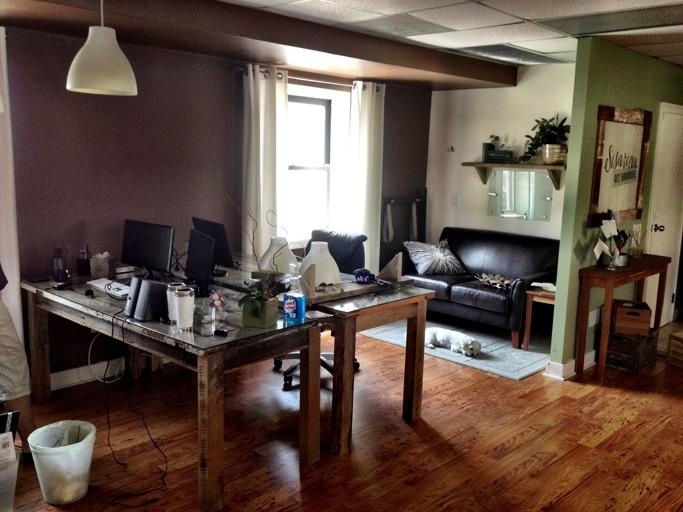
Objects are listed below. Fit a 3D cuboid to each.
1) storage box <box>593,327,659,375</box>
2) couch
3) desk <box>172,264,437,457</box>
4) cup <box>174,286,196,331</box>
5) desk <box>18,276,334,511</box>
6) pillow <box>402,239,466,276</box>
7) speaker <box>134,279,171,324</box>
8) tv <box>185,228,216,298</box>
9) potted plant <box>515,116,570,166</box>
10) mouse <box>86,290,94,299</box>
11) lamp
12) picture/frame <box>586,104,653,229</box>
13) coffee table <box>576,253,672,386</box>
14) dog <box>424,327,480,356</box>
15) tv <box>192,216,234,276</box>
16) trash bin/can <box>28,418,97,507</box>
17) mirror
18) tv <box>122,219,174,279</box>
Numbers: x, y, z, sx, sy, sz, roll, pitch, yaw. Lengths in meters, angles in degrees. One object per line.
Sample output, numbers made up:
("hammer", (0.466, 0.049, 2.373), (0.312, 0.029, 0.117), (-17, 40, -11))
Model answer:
("storage box", (2.603, 0.829, 4.945), (0.444, 0.333, 0.449), (-8, 11, -32))
("couch", (1.470, 0.263, 5.950), (1.546, 0.923, 0.913), (8, 17, 41))
("desk", (-0.146, 0.537, 3.945), (1.178, 1.076, 1.162), (-9, 12, -43))
("cup", (-0.875, 0.315, 3.058), (0.156, 0.219, 0.154), (-2, -4, 0))
("desk", (-1.291, 0.741, 3.567), (2.339, 0.950, 0.947), (9, 16, 26))
("pillow", (1.058, 0.026, 6.147), (0.619, 0.163, 0.626), (13, 45, -2))
("speaker", (-1.124, 0.262, 3.163), (0.216, 0.235, 0.108), (1, 14, -1))
("tv", (-0.955, 0.060, 3.668), (0.137, 0.380, 0.375), (-12, 29, -42))
("potted plant", (2.221, -1.281, 5.731), (0.465, 0.402, 0.328), (-14, 21, -39))
("mouse", (-1.709, 0.264, 3.649), (0.057, 0.042, 0.052), (1, 9, 3))
("lamp", (-1.385, -1.124, 3.071), (0.320, 0.353, 0.224), (4, 15, 8))
("picture/frame", (2.539, -0.810, 4.898), (1.147, 1.053, 0.072), (-9, 12, -41))
("coffee table", (2.602, 0.510, 4.990), (1.136, 0.912, 0.339), (-12, 16, -37))
("dog", (1.069, 0.811, 5.189), (0.500, 0.179, 0.263), (9, 20, 34))
("tv", (-0.929, -0.112, 4.019), (0.043, 0.373, 0.604), (6, 2, 18))
("trash bin/can", (-1.566, 1.167, 3.055), (0.319, 0.375, 0.300), (-8, 17, -32))
("mirror", (2.030, -0.693, 6.073), (0.595, 0.431, 0.024), (14, 19, 42))
("tv", (-1.462, -0.039, 4.047), (0.444, 0.268, 0.046), (12, 12, 38))
